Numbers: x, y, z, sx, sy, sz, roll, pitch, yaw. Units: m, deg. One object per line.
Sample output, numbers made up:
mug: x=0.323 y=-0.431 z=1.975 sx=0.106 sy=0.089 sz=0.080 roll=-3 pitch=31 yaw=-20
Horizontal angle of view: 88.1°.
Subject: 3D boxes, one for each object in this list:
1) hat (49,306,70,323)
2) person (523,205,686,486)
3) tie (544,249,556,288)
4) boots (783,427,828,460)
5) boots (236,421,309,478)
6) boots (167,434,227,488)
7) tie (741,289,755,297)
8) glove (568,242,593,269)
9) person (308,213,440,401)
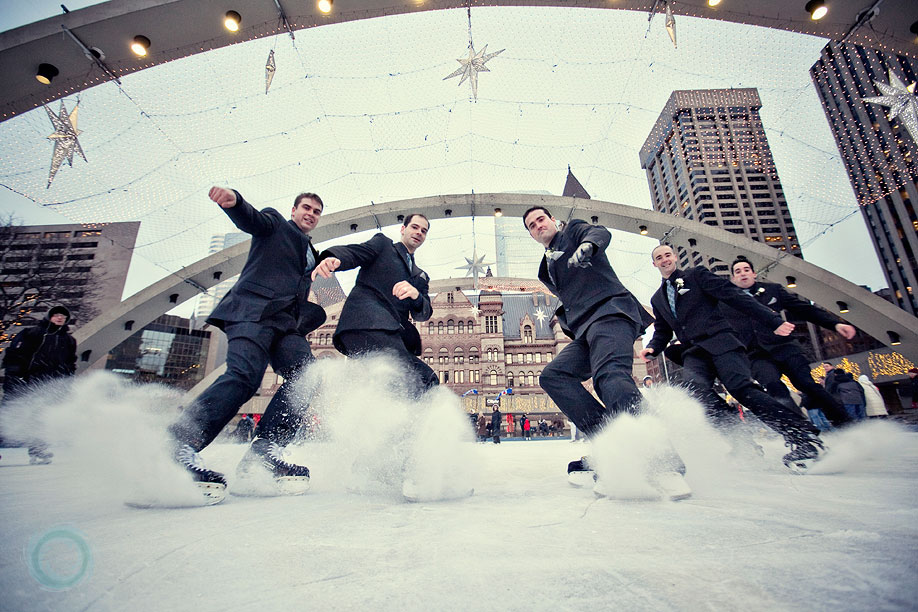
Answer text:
hat: x=-6.014 y=0.126 z=7.168 sx=0.202 sy=0.226 sz=0.235 roll=7 pitch=-57 yaw=-24
person: x=1.305 y=0.072 z=4.733 sx=0.764 sy=2.383 sz=1.448 roll=0 pitch=-1 yaw=-28
tie: x=0.985 y=-0.423 z=5.065 sx=0.115 sy=0.292 sz=0.228 roll=-7 pitch=-17 yaw=-6
boots: x=3.532 y=1.381 z=4.849 sx=0.372 sy=0.163 sz=0.355 roll=-17 pitch=-13 yaw=-11
boots: x=-1.709 y=1.322 z=4.273 sx=0.658 sy=0.425 sz=0.324 roll=-2 pitch=-1 yaw=26
boots: x=-2.119 y=1.244 z=3.860 sx=0.392 sy=0.424 sz=0.248 roll=-2 pitch=-1 yaw=25
tie: x=3.630 y=-0.175 z=5.968 sx=0.139 sy=0.031 sz=0.125 roll=16 pitch=9 yaw=-5
glove: x=1.211 y=-0.511 z=4.721 sx=0.239 sy=0.222 sz=0.285 roll=-1 pitch=-1 yaw=12
person: x=-0.831 y=-0.152 z=5.066 sx=1.276 sy=1.874 sz=1.002 roll=0 pitch=-1 yaw=-27
